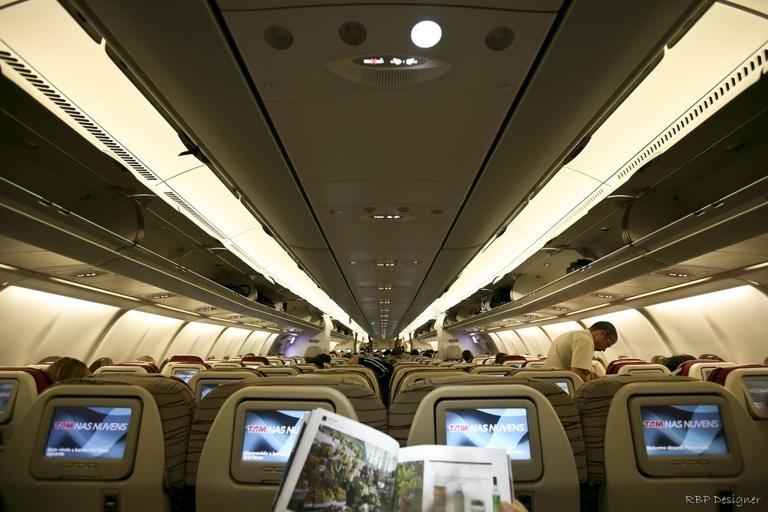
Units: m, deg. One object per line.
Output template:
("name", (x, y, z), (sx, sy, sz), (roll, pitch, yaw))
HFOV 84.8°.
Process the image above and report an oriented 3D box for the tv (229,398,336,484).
("tv", (-0.846, 1.295, 2.982), (0.999, 0.637, 0.220), (0, -4, -7))
